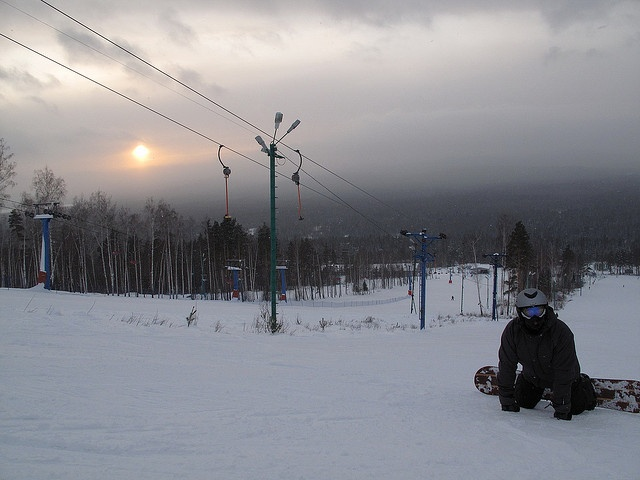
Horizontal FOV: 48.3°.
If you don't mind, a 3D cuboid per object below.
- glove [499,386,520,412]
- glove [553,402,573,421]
[{"bbox_3d":[4.750,4.056,17.837,0.403,0.551,0.572,-5,-1,15],"label":"glove"},{"bbox_3d":[5.943,4.213,17.437,0.323,0.335,0.415,-7,1,-4],"label":"glove"}]
